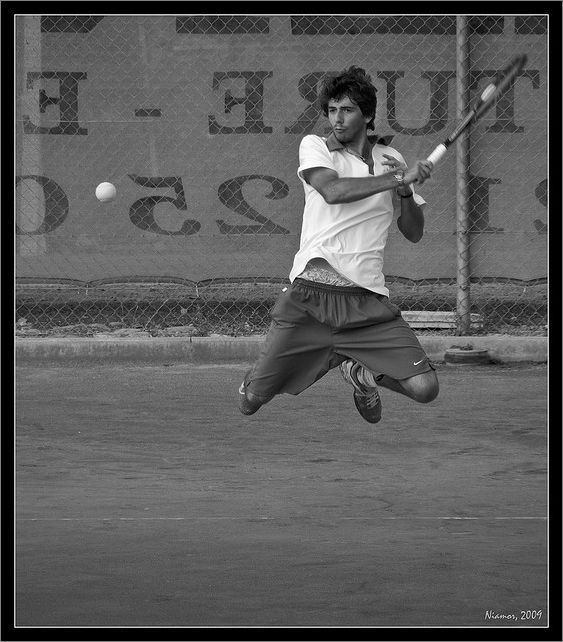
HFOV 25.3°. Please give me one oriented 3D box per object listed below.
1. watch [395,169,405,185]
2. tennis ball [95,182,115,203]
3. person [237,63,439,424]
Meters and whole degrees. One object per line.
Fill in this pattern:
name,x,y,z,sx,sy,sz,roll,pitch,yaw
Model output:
watch,0.461,-0.568,4.916,0.035,0.049,0.052,4,-14,4
tennis ball,-1.131,-0.830,8.078,0.132,0.121,0.124,8,28,-4
person,0.223,-0.267,5.209,0.785,1.538,0.556,-2,14,-3
